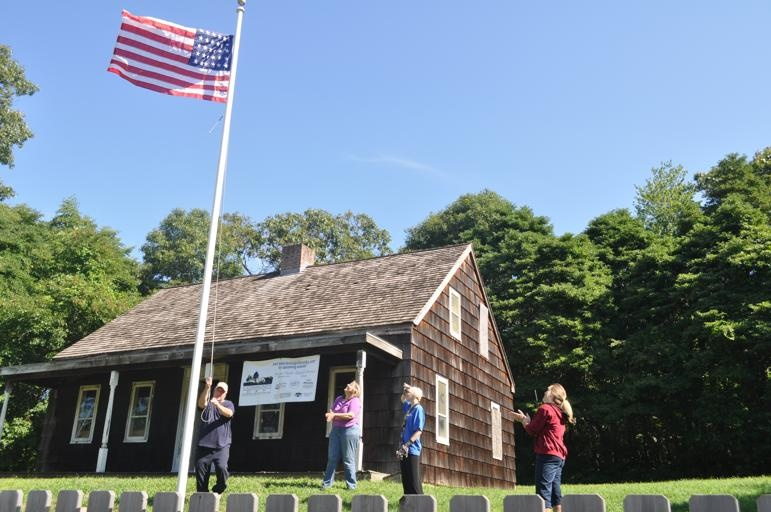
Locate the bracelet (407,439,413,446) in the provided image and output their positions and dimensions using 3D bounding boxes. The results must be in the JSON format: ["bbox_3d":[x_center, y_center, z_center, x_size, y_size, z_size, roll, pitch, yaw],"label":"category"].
[{"bbox_3d":[0.512,3.913,12.968,0.078,0.114,0.078,-1,-1,2],"label":"bracelet"}]
